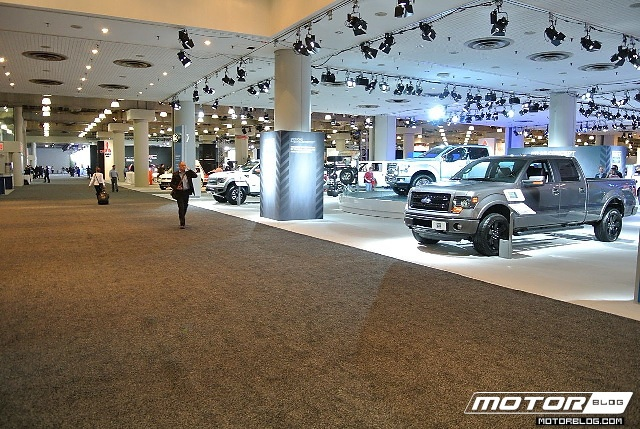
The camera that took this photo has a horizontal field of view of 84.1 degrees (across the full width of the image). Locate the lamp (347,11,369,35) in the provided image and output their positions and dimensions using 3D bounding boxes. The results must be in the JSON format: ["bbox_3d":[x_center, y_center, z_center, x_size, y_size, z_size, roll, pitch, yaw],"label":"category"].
[{"bbox_3d":[1.195,-6.541,11.994,0.618,0.808,1.133,0,7,0],"label":"lamp"}]

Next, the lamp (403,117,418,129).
[{"bbox_3d":[9.215,-9.538,36.887,2.185,0.884,2.814,1,3,6],"label":"lamp"}]

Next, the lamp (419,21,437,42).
[{"bbox_3d":[3.707,-6.468,12.473,0.544,0.496,0.358,-1,7,-9],"label":"lamp"}]

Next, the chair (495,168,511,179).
[{"bbox_3d":[5.237,-1.182,10.190,0.310,0.378,0.378,9,7,19],"label":"chair"}]

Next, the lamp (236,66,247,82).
[{"bbox_3d":[-3.920,-7.079,17.681,0.352,0.847,1.359,-1,7,-13],"label":"lamp"}]

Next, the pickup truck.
[{"bbox_3d":[5.816,-0.446,10.594,6.462,2.133,2.842,-1,2,-24],"label":"pickup truck"}]

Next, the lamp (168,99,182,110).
[{"bbox_3d":[-10.795,-8.293,26.720,0.647,0.778,0.885,-3,7,-23],"label":"lamp"}]

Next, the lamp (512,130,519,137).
[{"bbox_3d":[23.248,-9.767,42.375,0.621,0.542,0.163,2,11,-7],"label":"lamp"}]

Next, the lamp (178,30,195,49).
[{"bbox_3d":[-5.278,-6.793,13.871,0.309,0.747,0.585,9,41,33],"label":"lamp"}]

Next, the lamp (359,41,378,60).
[{"bbox_3d":[2.047,-6.737,14.481,0.221,0.837,0.978,-7,10,-33],"label":"lamp"}]

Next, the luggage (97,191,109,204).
[{"bbox_3d":[-12.878,-1.025,21.165,0.556,0.847,0.599,-4,8,-32],"label":"luggage"}]

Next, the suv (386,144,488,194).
[{"bbox_3d":[6.005,-2.370,18.538,4.871,2.156,2.733,-1,5,-8],"label":"suv"}]

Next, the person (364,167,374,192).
[{"bbox_3d":[2.971,-2.163,21.660,0.642,1.332,0.497,2,7,17],"label":"person"}]

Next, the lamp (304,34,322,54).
[{"bbox_3d":[-0.340,-6.744,13.821,0.498,0.866,0.960,0,7,-4],"label":"lamp"}]
